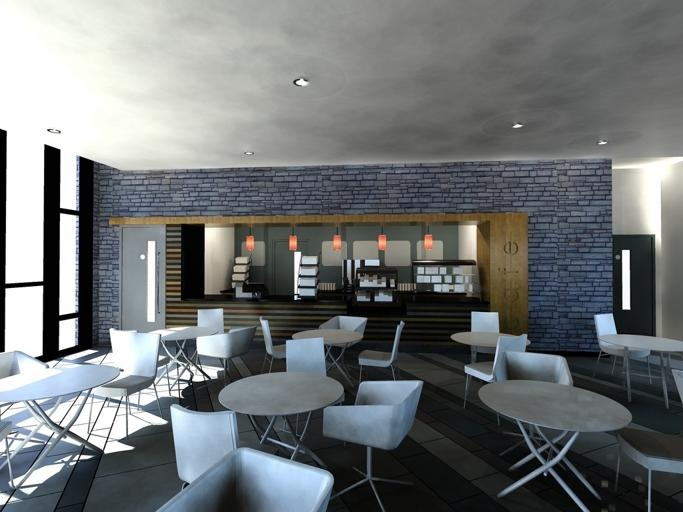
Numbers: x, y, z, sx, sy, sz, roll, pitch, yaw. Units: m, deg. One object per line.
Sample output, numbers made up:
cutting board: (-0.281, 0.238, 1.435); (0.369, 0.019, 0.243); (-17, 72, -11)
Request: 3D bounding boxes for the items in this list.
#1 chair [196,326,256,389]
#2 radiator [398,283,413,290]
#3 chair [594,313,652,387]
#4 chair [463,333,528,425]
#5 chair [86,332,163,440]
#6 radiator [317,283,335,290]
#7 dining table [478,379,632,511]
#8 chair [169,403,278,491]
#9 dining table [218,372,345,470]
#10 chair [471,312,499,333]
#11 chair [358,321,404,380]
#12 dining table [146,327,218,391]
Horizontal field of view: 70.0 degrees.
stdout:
chair: (-1.560, 1.334, 6.766); (0.738, 0.776, 0.782); (4, 4, 8)
radiator: (1.338, 0.631, 10.201); (0.296, 0.141, 0.423); (-2, 0, 3)
chair: (3.984, 1.309, 6.997); (0.612, 0.904, 0.603); (-2, 2, -27)
chair: (1.830, 1.377, 5.929); (0.594, 0.905, 0.632); (1, -1, -18)
chair: (-2.511, 1.445, 5.716); (0.692, 1.029, 0.687); (0, 4, -3)
radiator: (-0.302, 0.670, 10.942); (0.357, 0.169, 0.745); (-2, 0, 1)
dining table: (1.935, 1.621, 4.463); (1.185, 0.901, 1.212); (-3, -9, 35)
chair: (-1.112, 1.599, 4.312); (0.640, 0.761, 0.522); (-11, 0, -30)
dining table: (-0.611, 1.545, 4.693); (1.016, 0.661, 1.043); (-2, -1, 30)
chair: (2.036, 0.944, 7.006); (0.286, 0.402, 0.323); (-1, -10, 13)
chair: (0.524, 1.290, 6.547); (0.604, 0.819, 0.552); (2, 4, 23)
dining table: (-2.288, 1.347, 6.944); (0.980, 0.750, 0.998); (-1, -2, 19)
